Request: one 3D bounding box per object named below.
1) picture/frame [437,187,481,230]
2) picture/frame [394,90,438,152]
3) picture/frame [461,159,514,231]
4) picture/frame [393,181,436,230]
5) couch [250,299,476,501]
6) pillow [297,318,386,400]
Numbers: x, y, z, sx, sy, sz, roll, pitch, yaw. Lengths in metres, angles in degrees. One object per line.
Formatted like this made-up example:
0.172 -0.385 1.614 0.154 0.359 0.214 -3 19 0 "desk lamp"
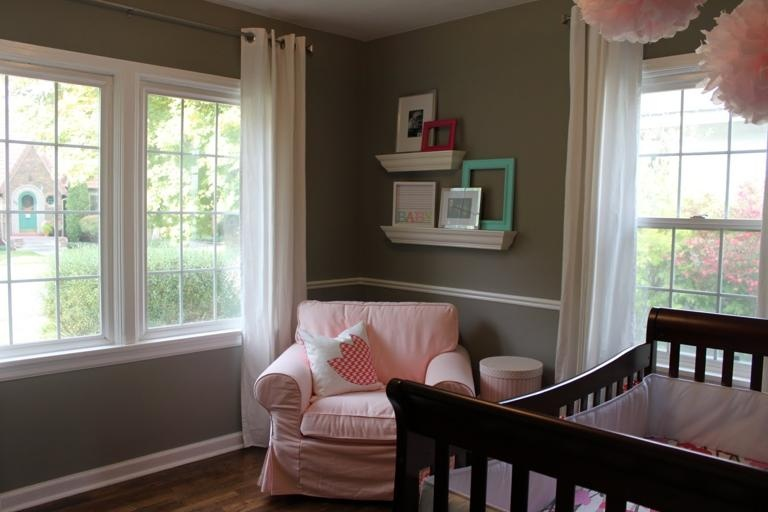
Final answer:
0.583 -0.366 4.178 0.339 0.320 0.036 -1 -7 43 "picture/frame"
0.263 -1.096 4.400 0.550 0.674 0.025 3 2 42 "picture/frame"
0.788 -0.450 4.073 0.043 0.637 0.517 -1 4 -40 "picture/frame"
0.253 -0.414 4.416 0.393 0.393 0.091 4 4 32 "picture/frame"
-0.087 0.938 3.791 1.333 1.112 1.030 1 4 9 "couch"
-0.317 0.629 3.838 0.703 0.629 0.358 -3 -12 -25 "pillow"
